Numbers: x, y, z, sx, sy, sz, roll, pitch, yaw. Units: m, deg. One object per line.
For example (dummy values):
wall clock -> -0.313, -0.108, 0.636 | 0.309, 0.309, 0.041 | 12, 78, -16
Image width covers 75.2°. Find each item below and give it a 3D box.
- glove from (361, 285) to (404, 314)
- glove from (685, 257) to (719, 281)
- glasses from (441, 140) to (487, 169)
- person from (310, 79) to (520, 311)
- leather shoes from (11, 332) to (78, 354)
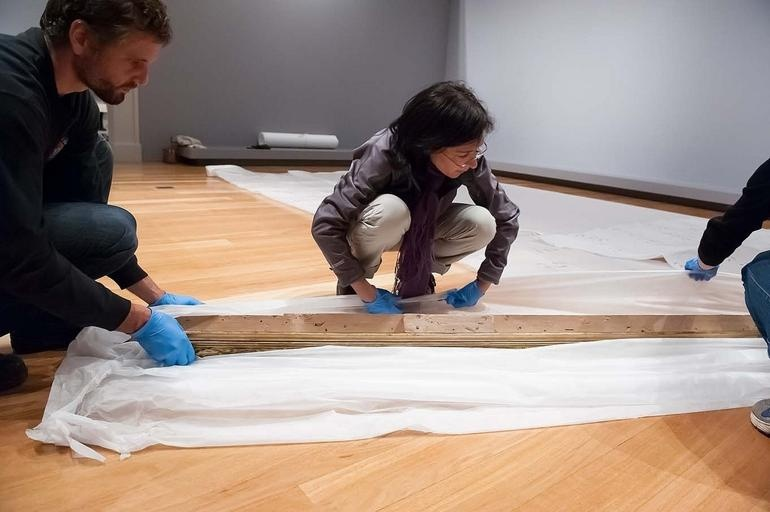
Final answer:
glove -> -0.005, 0.142, 1.761 | 0.118, 0.042, 0.082 | 1, 19, -12
glove -> 1.279, 0.048, 2.016 | 0.110, 0.102, 0.041 | 15, 58, -1
glasses -> 0.247, -0.338, 1.638 | 0.123, 0.035, 0.124 | -21, 26, -33
person -> 0.138, -0.181, 1.735 | 0.757, 0.786, 0.418 | 3, 34, -8
leather shoes -> -1.035, 0.259, 1.517 | 0.161, 0.048, 0.085 | 1, 4, -32
